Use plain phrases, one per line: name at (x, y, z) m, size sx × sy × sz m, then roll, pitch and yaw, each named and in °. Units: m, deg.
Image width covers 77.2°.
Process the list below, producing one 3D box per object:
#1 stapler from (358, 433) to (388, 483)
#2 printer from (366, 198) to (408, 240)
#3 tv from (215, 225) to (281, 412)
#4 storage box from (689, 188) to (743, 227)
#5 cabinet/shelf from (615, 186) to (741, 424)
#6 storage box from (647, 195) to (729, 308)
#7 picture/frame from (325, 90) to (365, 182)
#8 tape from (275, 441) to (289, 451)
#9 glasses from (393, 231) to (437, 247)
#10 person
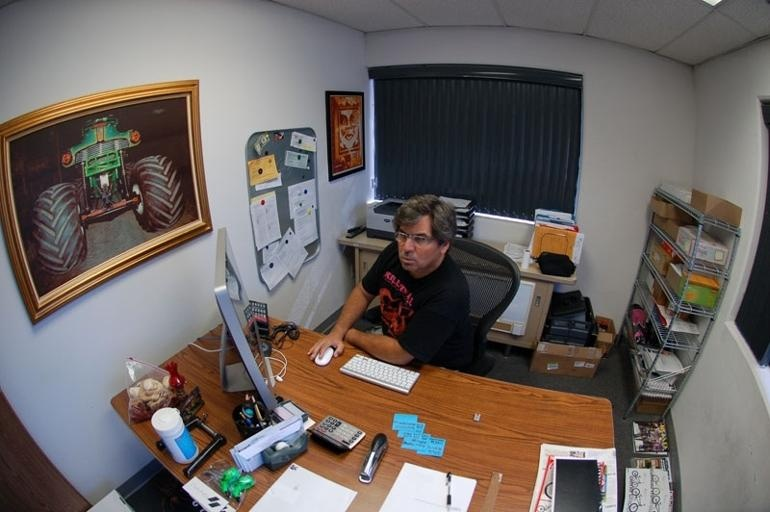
stapler at (-0.057, 1.022, 2.480) m, size 0.078 × 0.092 × 0.276 m, roll 15°, pitch 66°, yaw 18°
printer at (0.003, -0.328, 4.479) m, size 0.338 × 0.327 × 0.340 m, roll 9°, pitch 16°, yaw 32°
tv at (-0.825, 0.382, 2.877) m, size 0.229 × 0.626 × 0.833 m, roll -10°, pitch 31°, yaw -13°
storage box at (2.123, -0.318, 3.195) m, size 0.137 × 0.166 × 0.396 m, roll -2°, pitch 19°, yaw -9°
cabinet/shelf at (2.060, 0.340, 3.497) m, size 0.436 × 1.425 × 1.312 m, roll 3°, pitch 15°, yaw 6°
storage box at (2.142, -0.038, 3.455) m, size 0.313 × 0.649 × 0.721 m, roll 4°, pitch 19°, yaw 12°
picture/frame at (-0.366, -1.051, 4.230) m, size 0.026 × 0.683 × 0.614 m, roll 11°, pitch 21°, yaw 29°
tape at (-0.521, 0.965, 2.441) m, size 0.032 × 0.059 × 0.060 m, roll 36°, pitch -6°, yaw 15°
glasses at (0.156, -0.102, 2.838) m, size 0.245 × 0.071 × 0.073 m, roll 11°, pitch 21°, yaw 26°
person at (0.163, 0.263, 3.015) m, size 0.829 × 1.211 × 0.751 m, roll 21°, pitch 16°, yaw 25°
